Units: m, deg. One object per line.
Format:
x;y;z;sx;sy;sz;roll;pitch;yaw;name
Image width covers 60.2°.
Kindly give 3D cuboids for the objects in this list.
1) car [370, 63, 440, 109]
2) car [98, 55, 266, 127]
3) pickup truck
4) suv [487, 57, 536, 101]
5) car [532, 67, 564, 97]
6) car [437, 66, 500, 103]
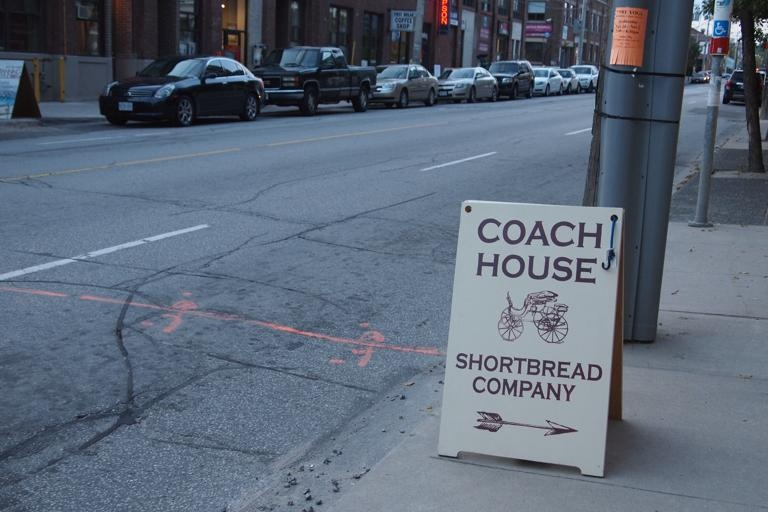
0.927;-8.358;32.385;1.640;2.020;4.521;9;17;30;car
-6.022;-5.142;21.628;2.292;1.815;5.401;5;10;26;car
-2.867;-7.194;27.140;2.646;1.905;4.817;6;11;31;pickup truck
8.619;-11.804;44.126;1.918;1.669;3.658;4;10;26;suv
12.344;-13.267;50.226;1.714;1.978;4.874;6;16;20;car
4.729;-9.807;37.833;1.188;1.858;4.651;12;19;41;car
